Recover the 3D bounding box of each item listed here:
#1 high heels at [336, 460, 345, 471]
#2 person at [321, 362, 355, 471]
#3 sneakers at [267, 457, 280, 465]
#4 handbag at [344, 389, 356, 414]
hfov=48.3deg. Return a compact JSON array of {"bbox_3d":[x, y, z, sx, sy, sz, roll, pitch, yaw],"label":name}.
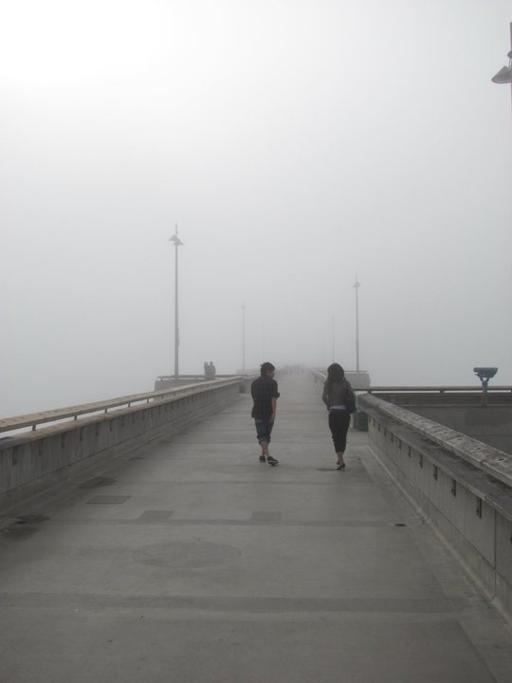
[{"bbox_3d":[1.412,2.066,9.485,0.068,0.111,0.225,1,0,-9],"label":"high heels"},{"bbox_3d":[1.419,1.257,9.707,0.517,1.763,1.213,0,-3,8],"label":"person"},{"bbox_3d":[0.299,2.088,10.037,0.205,0.155,0.349,0,-3,0],"label":"sneakers"},{"bbox_3d":[1.589,1.003,9.543,0.179,0.400,0.206,-1,-3,29],"label":"handbag"}]
